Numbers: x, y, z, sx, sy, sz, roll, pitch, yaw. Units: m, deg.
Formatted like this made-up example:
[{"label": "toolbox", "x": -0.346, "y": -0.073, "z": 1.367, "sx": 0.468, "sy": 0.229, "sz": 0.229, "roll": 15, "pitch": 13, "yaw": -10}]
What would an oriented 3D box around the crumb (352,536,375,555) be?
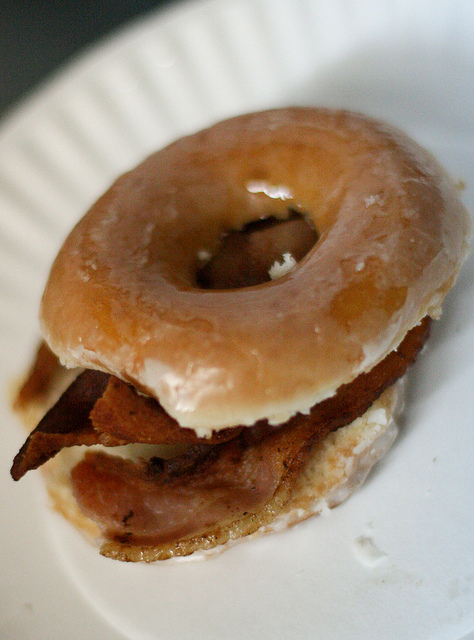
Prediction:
[{"label": "crumb", "x": 0.201, "y": 0.361, "z": 1.273, "sx": 0.032, "sy": 0.013, "sz": 0.027, "roll": -29, "pitch": 52, "yaw": -12}]
